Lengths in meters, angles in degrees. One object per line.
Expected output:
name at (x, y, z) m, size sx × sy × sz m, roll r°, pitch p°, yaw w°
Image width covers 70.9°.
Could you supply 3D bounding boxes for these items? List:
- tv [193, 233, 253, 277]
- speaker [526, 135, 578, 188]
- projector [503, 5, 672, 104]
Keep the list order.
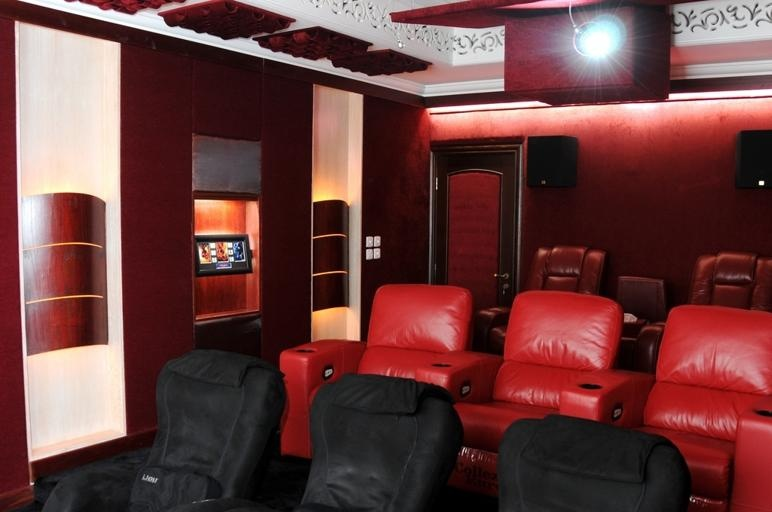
tv at (-1.554, -0.018, 5.163) m, size 0.237 × 0.364 × 0.534 m, roll 8°, pitch 8°, yaw 29°
speaker at (2.077, -1.194, 6.784) m, size 0.599 × 0.609 × 0.160 m, roll 0°, pitch 6°, yaw 11°
projector at (1.587, -1.639, 4.224) m, size 1.326 × 0.736 × 0.688 m, roll -1°, pitch 5°, yaw 3°
